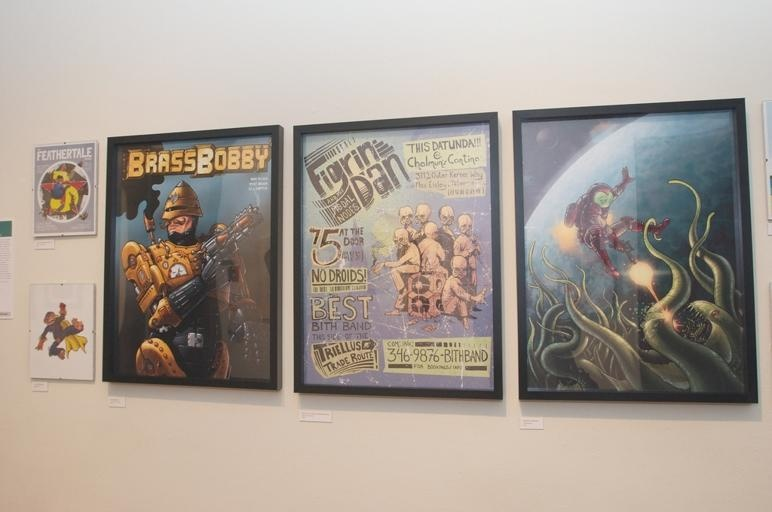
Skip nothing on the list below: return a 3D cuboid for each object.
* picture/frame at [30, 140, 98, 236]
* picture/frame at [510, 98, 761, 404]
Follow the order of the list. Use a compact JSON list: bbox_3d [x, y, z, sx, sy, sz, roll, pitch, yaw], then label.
[{"bbox_3d":[-1.761,-0.364,4.987,0.492,0.688,0.077,-1,-3,9],"label":"picture/frame"},{"bbox_3d":[1.344,0.000,4.638,1.456,1.999,0.070,-1,-4,5],"label":"picture/frame"}]
